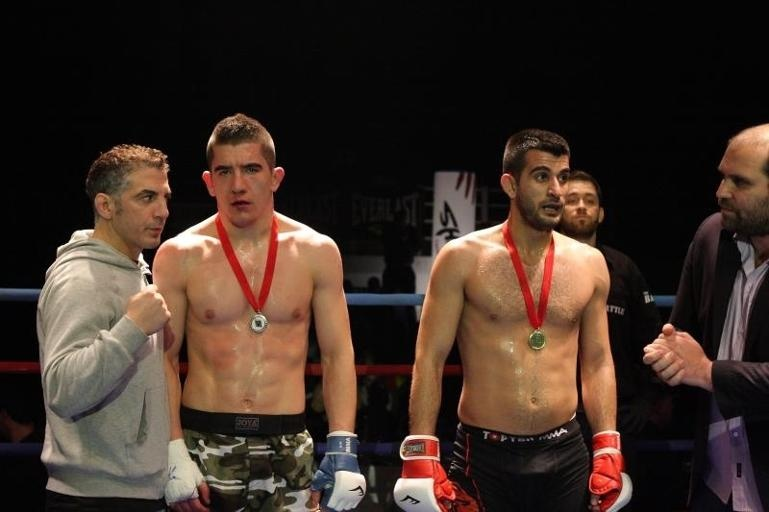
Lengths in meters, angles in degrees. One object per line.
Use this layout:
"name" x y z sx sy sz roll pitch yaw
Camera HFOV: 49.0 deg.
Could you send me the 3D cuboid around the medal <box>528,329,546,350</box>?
"medal" 0.967 0.532 5.347 0.096 0.119 0.027 0 -7 -4
